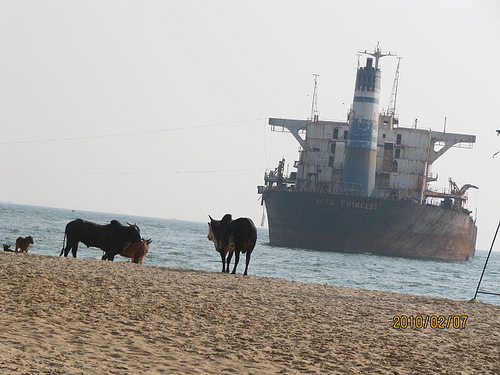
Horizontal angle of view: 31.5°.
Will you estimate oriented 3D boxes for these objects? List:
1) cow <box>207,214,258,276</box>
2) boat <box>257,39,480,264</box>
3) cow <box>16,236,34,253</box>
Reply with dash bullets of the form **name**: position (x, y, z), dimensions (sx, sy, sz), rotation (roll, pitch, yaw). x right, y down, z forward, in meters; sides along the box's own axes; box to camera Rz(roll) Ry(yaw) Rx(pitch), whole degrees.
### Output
- **cow**: position (-0.709, 1.875, 35.399), dimensions (1.965, 3.506, 2.065), rotation (0, 2, -5)
- **boat**: position (11.981, -0.274, 81.181), dimensions (10.700, 11.186, 27.672), rotation (2, 0, 21)
- **cow**: position (-9.034, 2.323, 35.567), dimensions (0.536, 0.641, 0.891), rotation (4, 10, -8)
